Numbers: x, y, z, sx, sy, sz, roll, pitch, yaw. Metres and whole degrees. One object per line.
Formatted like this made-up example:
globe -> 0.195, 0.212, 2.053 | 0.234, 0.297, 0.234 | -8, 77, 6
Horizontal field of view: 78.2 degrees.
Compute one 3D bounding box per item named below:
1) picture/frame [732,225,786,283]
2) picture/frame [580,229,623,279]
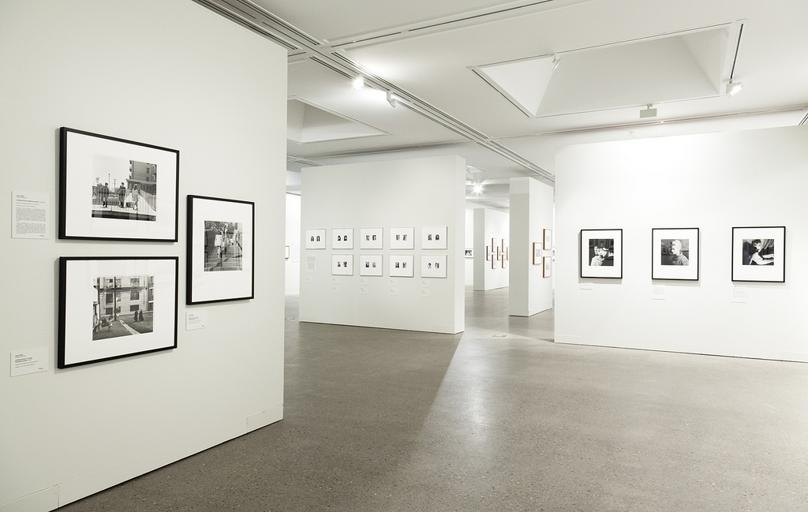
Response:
picture/frame -> 8.036, -0.054, 11.148 | 1.295, 1.652, 0.065 | 1, -6, 22
picture/frame -> 4.971, -0.073, 12.343 | 1.231, 1.526, 0.100 | -2, -2, 23
